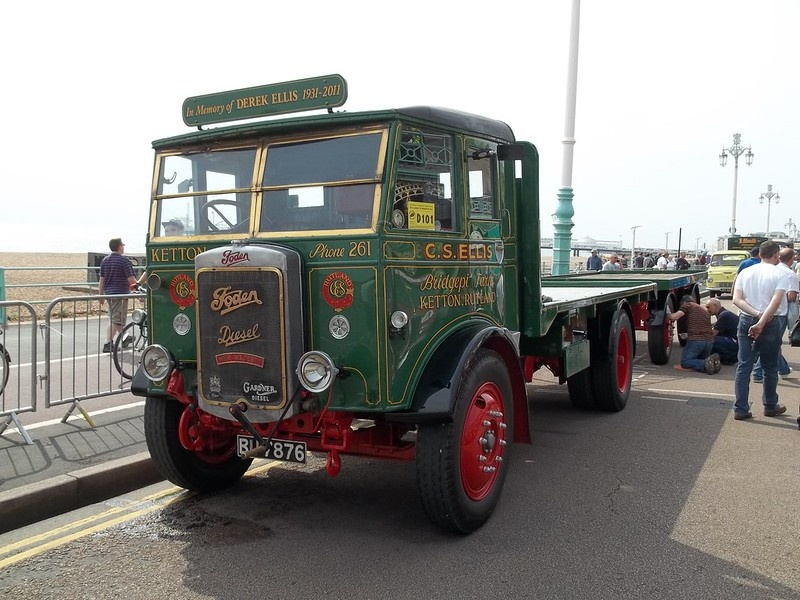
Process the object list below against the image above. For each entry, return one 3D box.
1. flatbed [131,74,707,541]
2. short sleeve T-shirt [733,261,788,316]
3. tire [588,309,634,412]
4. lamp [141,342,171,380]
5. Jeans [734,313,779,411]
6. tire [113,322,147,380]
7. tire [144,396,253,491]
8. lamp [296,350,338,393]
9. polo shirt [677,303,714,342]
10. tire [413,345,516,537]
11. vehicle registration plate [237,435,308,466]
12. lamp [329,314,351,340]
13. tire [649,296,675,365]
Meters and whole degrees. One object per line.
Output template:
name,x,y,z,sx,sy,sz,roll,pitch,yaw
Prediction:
flatbed,0.562,-0.116,6.646,2.060,2.708,6.080,-1,0,29
short sleeve T-shirt,5.041,-0.140,7.761,0.672,0.786,0.384,-6,-15,43
tire,2.999,0.878,8.009,0.395,1.370,1.137,2,-9,26
lamp,-2.026,0.508,4.648,0.266,0.302,0.087,-1,-2,21
Jeans,4.973,0.876,7.772,0.728,1.354,0.369,-1,4,-7
tire,-3.571,0.666,7.312,0.471,0.695,0.204,-10,-30,39
tire,-1.766,1.235,4.890,0.289,0.976,0.794,-3,-13,31
lamp,-0.611,0.510,4.103,0.266,0.294,0.178,-1,3,7
polo shirt,6.201,0.476,11.681,0.628,0.703,0.371,6,-12,-29
tire,0.493,1.135,4.486,0.465,1.635,1.275,0,-4,31
vehicle registration plate,-1.006,1.150,4.337,0.692,0.212,0.193,3,5,30
lamp,-0.461,0.204,4.191,0.150,0.182,0.054,5,5,20
tire,5.494,0.630,11.746,0.324,1.363,1.104,3,12,27
